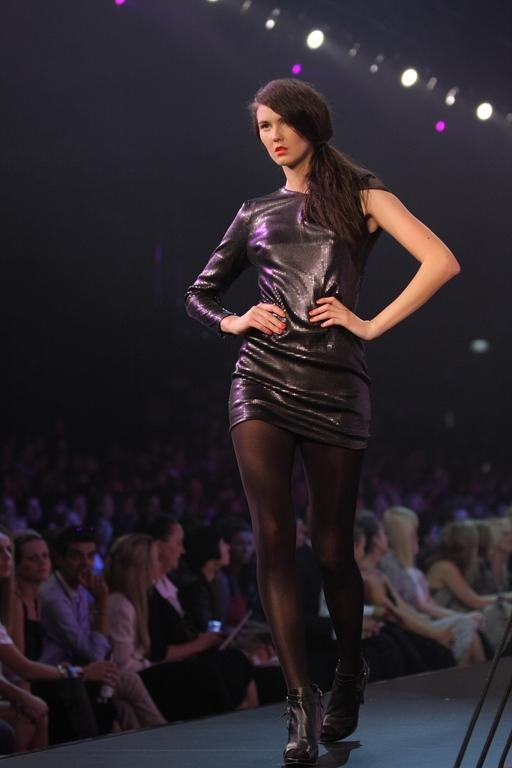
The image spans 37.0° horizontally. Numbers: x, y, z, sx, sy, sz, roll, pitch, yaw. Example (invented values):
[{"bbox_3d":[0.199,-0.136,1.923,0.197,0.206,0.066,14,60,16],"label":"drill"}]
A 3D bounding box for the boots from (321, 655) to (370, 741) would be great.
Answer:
[{"bbox_3d":[0.164,0.602,1.488,0.056,0.069,0.166,3,44,30],"label":"boots"}]

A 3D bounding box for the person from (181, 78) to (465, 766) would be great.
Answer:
[{"bbox_3d":[0.133,0.031,1.496,0.358,1.271,0.446,5,-18,-31],"label":"person"}]
